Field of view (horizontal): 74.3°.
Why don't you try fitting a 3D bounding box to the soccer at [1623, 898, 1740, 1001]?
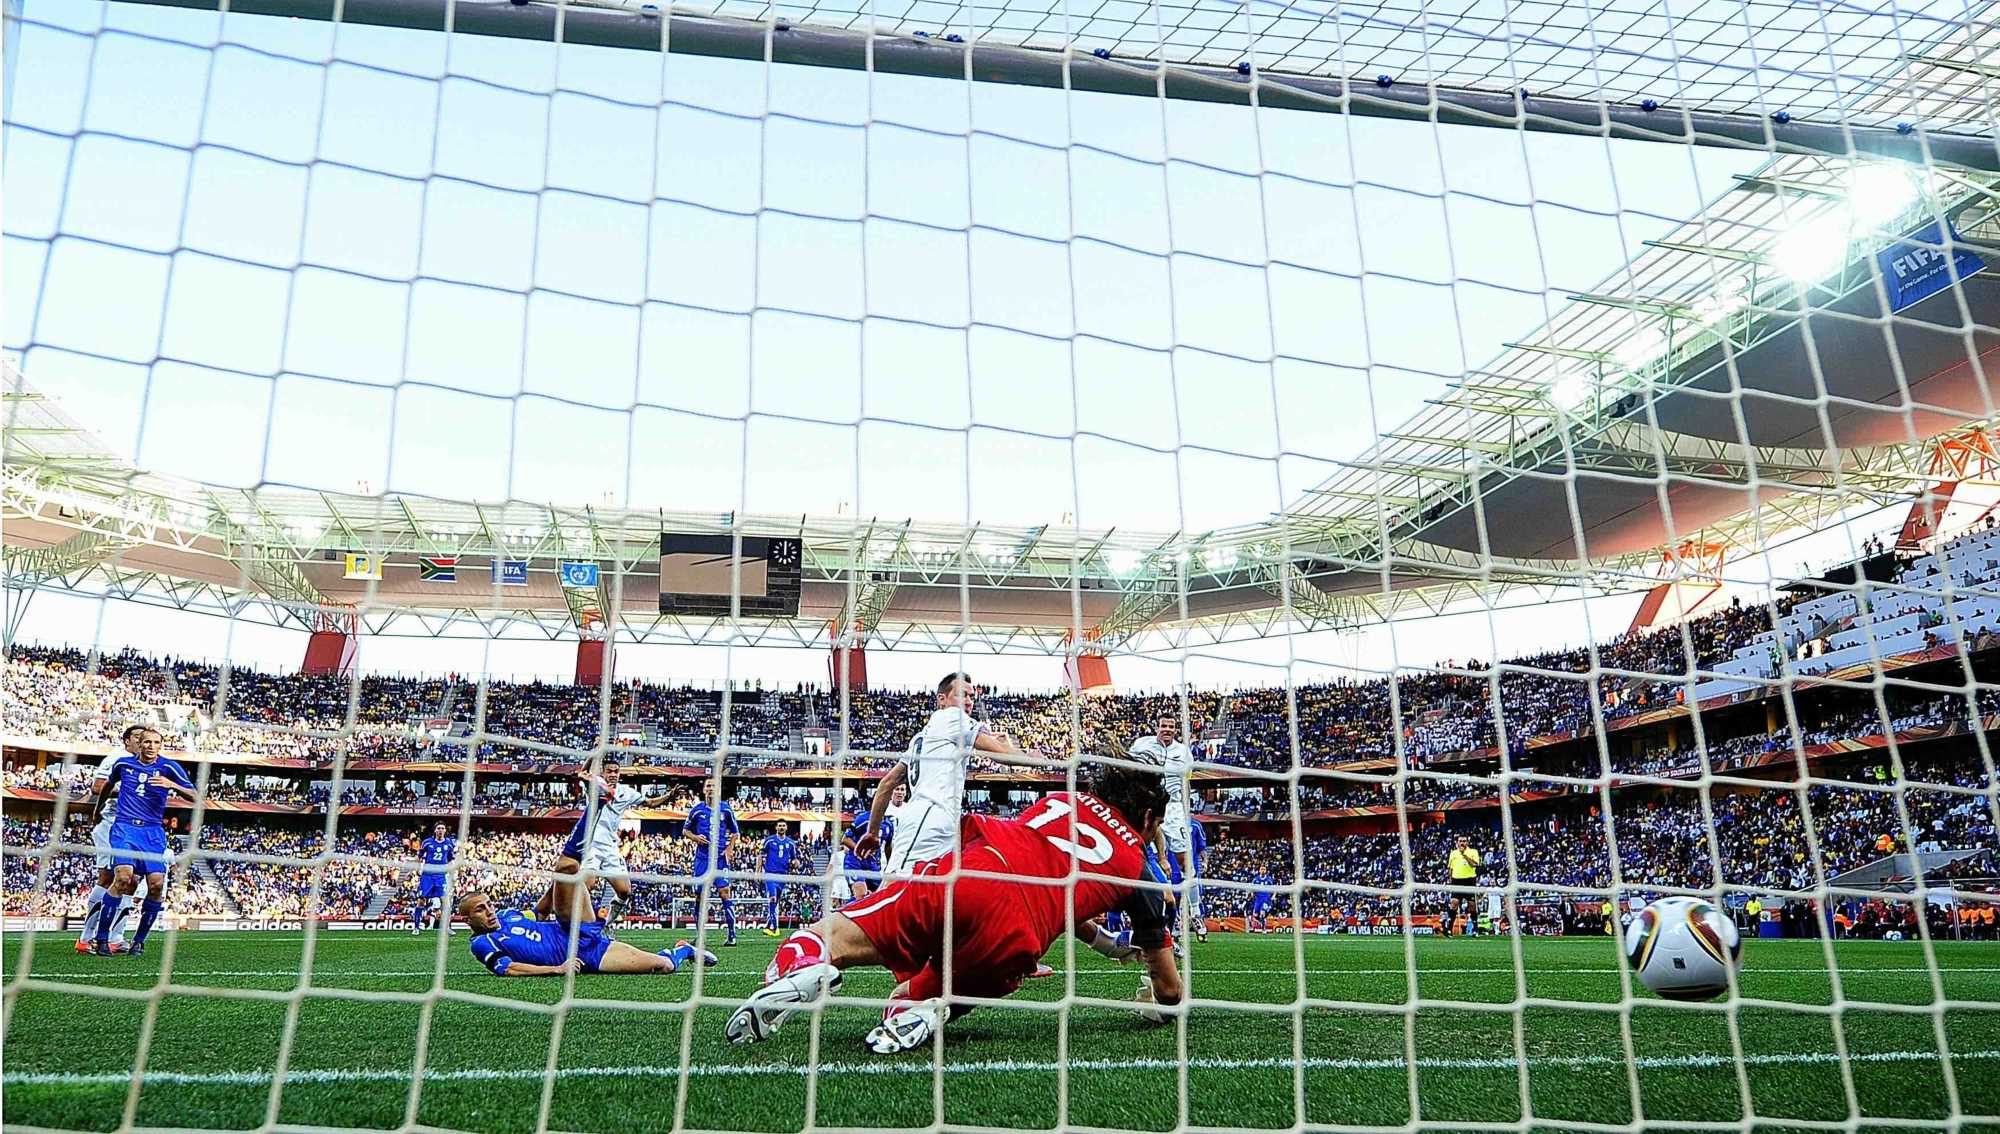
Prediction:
[{"bbox_3d":[4.199,2.381,8.231,0.561,0.602,0.293,1,-14,15],"label":"soccer"}]
